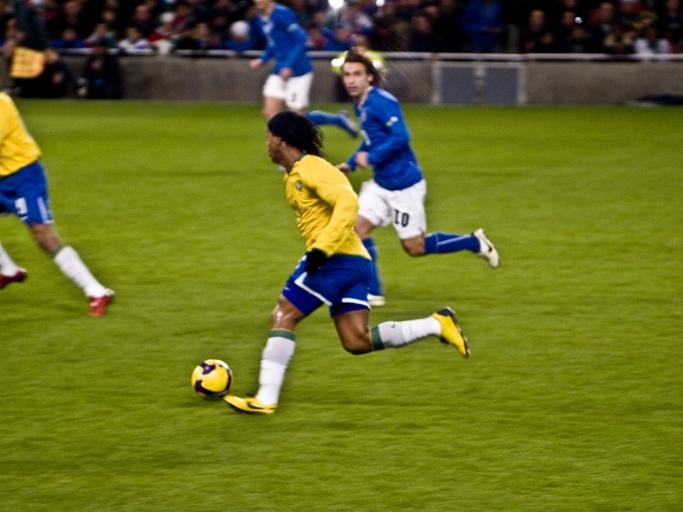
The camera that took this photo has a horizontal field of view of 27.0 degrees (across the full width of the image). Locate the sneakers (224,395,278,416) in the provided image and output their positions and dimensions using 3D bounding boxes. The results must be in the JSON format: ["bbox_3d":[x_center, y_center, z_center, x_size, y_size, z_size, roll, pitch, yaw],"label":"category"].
[{"bbox_3d":[-0.731,1.201,11.588,0.442,0.131,0.151,14,-14,-10],"label":"sneakers"}]

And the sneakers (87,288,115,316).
[{"bbox_3d":[-2.177,0.410,12.981,0.104,0.178,0.250,-4,47,44],"label":"sneakers"}]

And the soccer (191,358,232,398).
[{"bbox_3d":[-1.071,1.019,11.797,0.431,0.302,0.361,-6,-1,-10],"label":"soccer"}]

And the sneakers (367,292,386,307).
[{"bbox_3d":[0.335,0.402,13.275,0.165,0.114,0.136,-1,4,0],"label":"sneakers"}]
